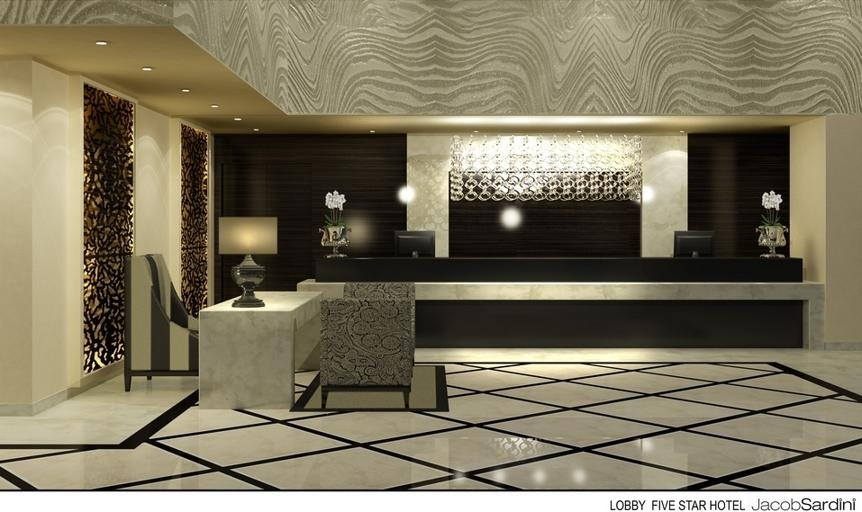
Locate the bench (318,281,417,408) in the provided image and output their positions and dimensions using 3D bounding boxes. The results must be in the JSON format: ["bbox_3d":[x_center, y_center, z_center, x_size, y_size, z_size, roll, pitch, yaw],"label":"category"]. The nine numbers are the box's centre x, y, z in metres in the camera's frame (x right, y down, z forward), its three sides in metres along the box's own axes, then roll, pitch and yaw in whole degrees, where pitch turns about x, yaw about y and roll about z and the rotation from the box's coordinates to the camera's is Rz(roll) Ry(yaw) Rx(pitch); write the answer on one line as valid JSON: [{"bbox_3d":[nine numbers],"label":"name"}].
[{"bbox_3d":[-0.702,1.059,6.734,1.009,1.177,0.382,-1,10,-8],"label":"bench"}]

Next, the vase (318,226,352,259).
[{"bbox_3d":[-1.573,-0.218,10.226,0.538,0.471,0.515,0,-6,3],"label":"vase"}]

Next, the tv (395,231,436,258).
[{"bbox_3d":[-0.272,-0.173,9.985,0.485,0.285,0.116,1,3,1],"label":"tv"}]

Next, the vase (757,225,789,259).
[{"bbox_3d":[5.451,-0.222,10.006,0.531,0.446,0.393,0,2,7],"label":"vase"}]

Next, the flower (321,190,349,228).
[{"bbox_3d":[-1.649,-0.761,10.572,0.466,0.529,0.382,4,0,-9],"label":"flower"}]

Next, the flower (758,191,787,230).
[{"bbox_3d":[5.549,-0.721,10.167,0.538,0.487,0.517,-6,6,5],"label":"flower"}]

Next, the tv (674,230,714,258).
[{"bbox_3d":[4.189,-0.177,9.964,0.493,0.345,0.146,1,2,2],"label":"tv"}]
